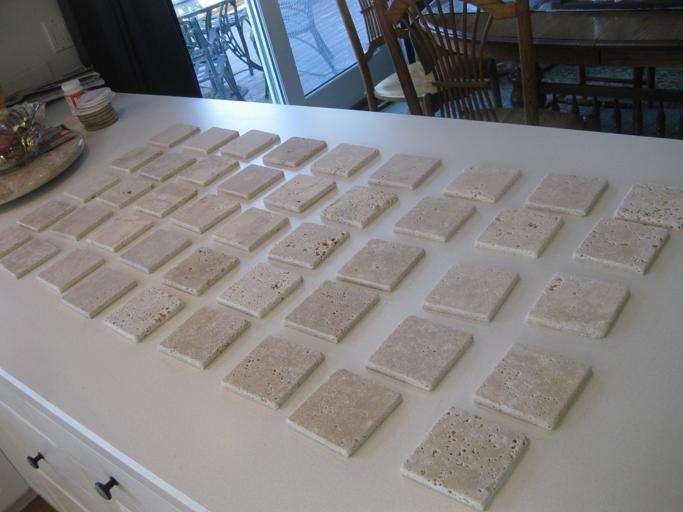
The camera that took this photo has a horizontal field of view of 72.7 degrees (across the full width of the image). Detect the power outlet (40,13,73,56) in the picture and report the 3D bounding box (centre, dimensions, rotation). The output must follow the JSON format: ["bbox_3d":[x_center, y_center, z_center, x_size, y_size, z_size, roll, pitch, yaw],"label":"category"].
[{"bbox_3d":[-1.215,-0.950,1.969,0.111,0.153,0.015,-37,33,-21],"label":"power outlet"}]
